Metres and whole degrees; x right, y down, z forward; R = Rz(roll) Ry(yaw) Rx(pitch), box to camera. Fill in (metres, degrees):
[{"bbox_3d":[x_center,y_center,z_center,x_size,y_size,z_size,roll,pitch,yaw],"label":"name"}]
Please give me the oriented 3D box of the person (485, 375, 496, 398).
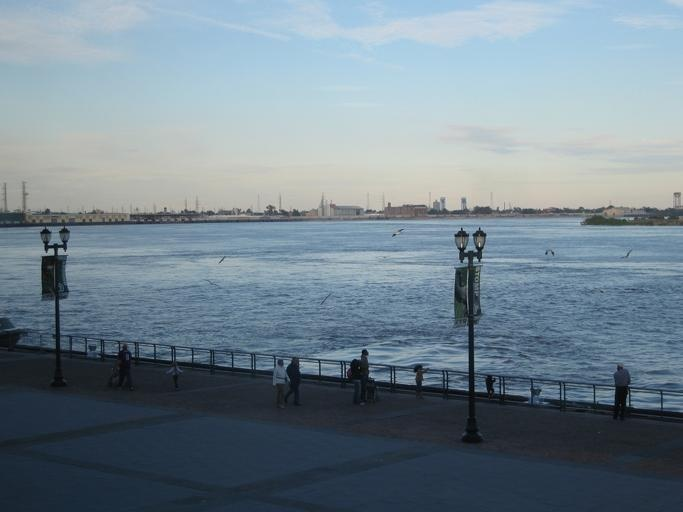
[{"bbox_3d":[6.027,5.548,46.814,0.543,1.081,0.611,4,10,8],"label":"person"}]
